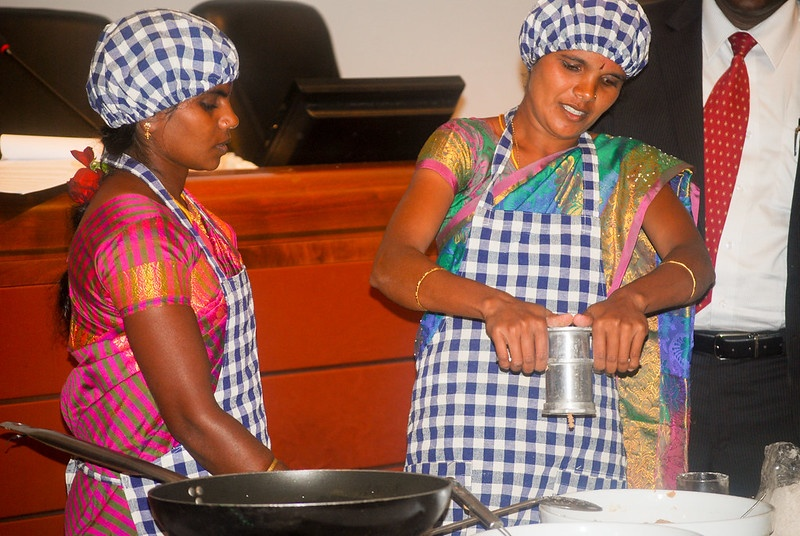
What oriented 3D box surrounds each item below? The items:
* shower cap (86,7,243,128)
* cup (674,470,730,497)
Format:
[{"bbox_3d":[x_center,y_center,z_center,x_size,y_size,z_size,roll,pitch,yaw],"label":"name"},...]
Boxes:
[{"bbox_3d":[-0.562,-0.444,2.314,0.297,0.256,0.177,15,-32,17],"label":"shower cap"},{"bbox_3d":[0.686,0.474,2.171,0.065,0.050,0.065,0,-3,0],"label":"cup"}]
